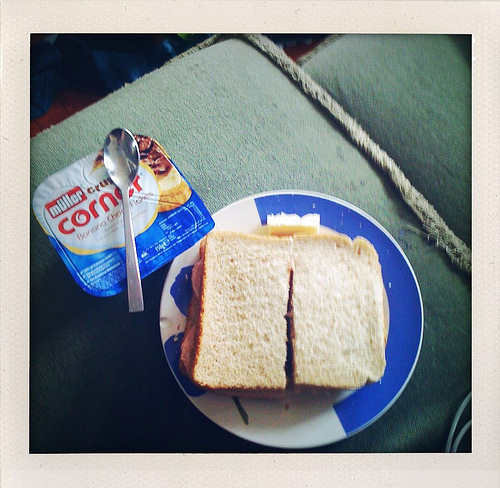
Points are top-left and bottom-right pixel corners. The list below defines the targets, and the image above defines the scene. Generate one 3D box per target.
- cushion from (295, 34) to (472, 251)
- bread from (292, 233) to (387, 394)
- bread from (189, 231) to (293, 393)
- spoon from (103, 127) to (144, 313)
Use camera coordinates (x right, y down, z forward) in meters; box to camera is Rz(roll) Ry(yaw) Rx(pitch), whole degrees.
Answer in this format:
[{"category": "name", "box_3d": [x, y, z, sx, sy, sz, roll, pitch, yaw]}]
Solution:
[{"category": "cushion", "box_3d": [0.358, -0.299, 1.397, 0.370, 0.101, 0.444, -36, 94, 1]}, {"category": "bread", "box_3d": [0.182, 0.135, 1.141, 0.189, 0.185, 0.233, -2, 50, 8]}, {"category": "bread", "box_3d": [-0.015, 0.151, 1.188, 0.196, 0.088, 0.388, 2, 44, 2]}, {"category": "spoon", "box_3d": [-0.241, -0.075, 1.078, 0.072, 0.065, 0.460, 5, 42, -19]}]
